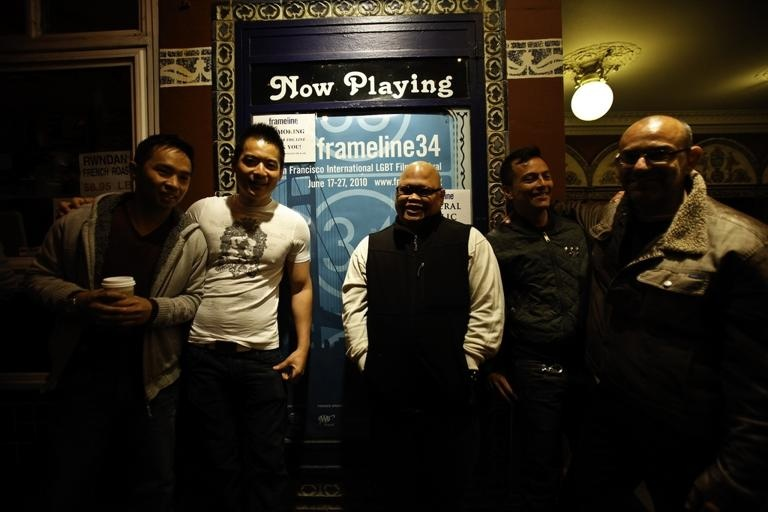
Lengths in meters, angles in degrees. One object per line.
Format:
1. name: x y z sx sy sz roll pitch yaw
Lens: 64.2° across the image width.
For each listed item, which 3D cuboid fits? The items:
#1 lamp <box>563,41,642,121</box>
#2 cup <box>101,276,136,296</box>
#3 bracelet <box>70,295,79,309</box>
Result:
1. lamp: 2.102 -1.723 6.174 0.771 0.466 0.752 17 -20 -41
2. cup: -1.705 0.192 3.923 0.146 0.084 0.143 2 -3 0
3. bracelet: -2.007 0.289 3.977 0.057 0.066 0.069 1 -12 -3
